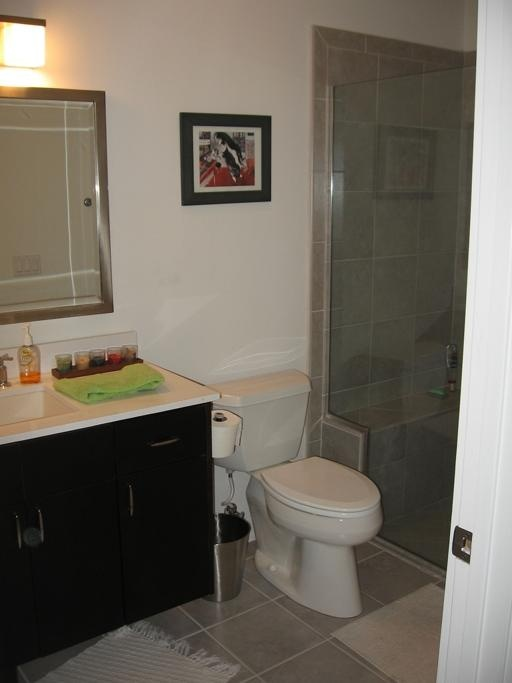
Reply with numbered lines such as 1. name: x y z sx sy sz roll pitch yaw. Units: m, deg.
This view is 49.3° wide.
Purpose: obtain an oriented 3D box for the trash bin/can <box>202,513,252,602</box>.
1. trash bin/can: -0.112 0.827 2.214 0.216 0.286 0.248 -2 8 -11

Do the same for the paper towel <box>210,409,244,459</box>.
1. paper towel: -0.114 0.334 2.057 0.142 0.143 0.153 3 4 -9

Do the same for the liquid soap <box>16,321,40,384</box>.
1. liquid soap: -0.756 0.057 1.859 0.067 0.164 0.070 -4 9 -25

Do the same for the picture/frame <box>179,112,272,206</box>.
1. picture/frame: -0.136 -0.733 2.207 0.348 0.329 0.015 -10 16 -35

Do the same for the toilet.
1. toilet: 0.294 0.542 2.480 0.536 1.026 0.870 -10 15 -36

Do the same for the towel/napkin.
1. towel/napkin: -0.482 0.134 1.842 0.349 0.073 0.252 -4 10 -24

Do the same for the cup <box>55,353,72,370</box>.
1. cup: -0.659 0.071 1.917 0.044 0.056 0.053 1 2 2
